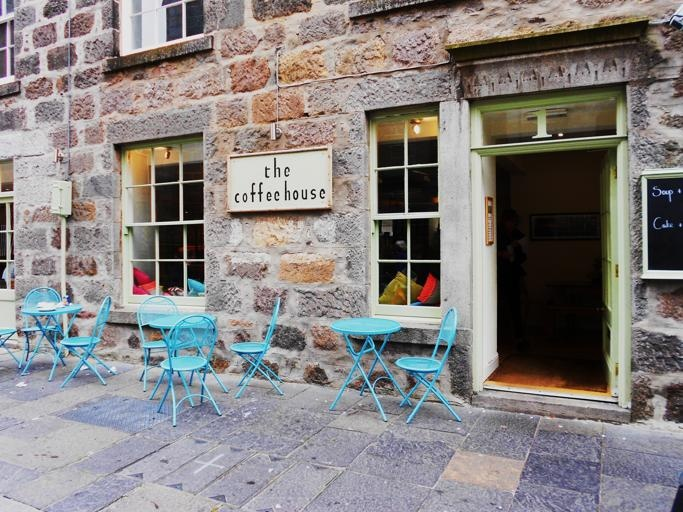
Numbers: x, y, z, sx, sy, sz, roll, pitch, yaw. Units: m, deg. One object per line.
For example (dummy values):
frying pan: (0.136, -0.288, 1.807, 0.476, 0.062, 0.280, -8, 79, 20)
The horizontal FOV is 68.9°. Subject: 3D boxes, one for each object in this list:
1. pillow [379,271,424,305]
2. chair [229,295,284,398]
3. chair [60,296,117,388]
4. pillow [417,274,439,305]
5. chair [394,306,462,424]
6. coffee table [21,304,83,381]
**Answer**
pillow: (0.696, 0.381, 5.856, 0.516, 0.381, 0.076, 1, 10, 14)
chair: (-0.988, 1.056, 5.910, 0.580, 1.077, 0.984, -3, 9, -6)
chair: (-3.389, 1.048, 6.623, 0.648, 1.109, 1.544, -6, 9, -24)
pillow: (1.002, 0.381, 5.745, 0.238, 0.356, 0.074, 1, 10, 13)
chair: (0.906, 1.091, 5.175, 0.644, 1.137, 0.808, 0, 9, 8)
coffee table: (-4.199, 1.135, 7.126, 0.736, 0.682, 0.715, 3, -2, -26)
